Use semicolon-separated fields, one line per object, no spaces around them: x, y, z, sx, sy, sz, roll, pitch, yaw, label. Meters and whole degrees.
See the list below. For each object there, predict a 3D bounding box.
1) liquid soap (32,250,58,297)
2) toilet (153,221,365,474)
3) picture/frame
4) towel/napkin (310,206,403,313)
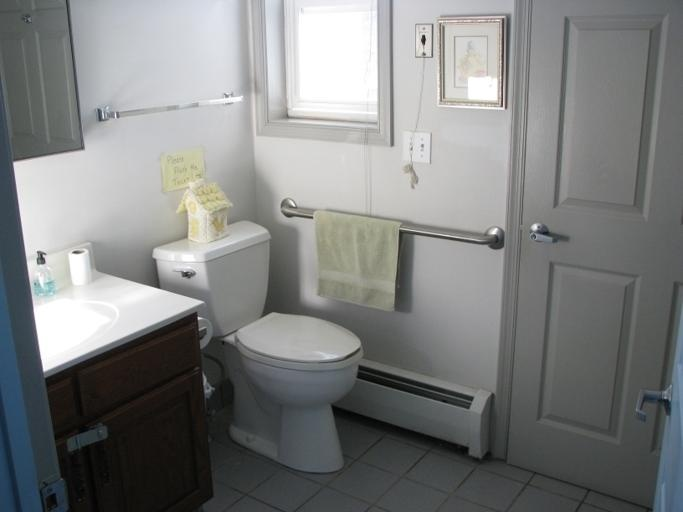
-1.121;0.062;1.921;0.068;0.162;0.089;-11;22;-32;liquid soap
-0.325;0.438;2.418;0.890;1.005;0.642;8;16;29;toilet
0.542;-0.794;2.091;0.341;0.433;0.032;8;18;31;picture/frame
0.088;0.001;2.470;0.435;0.460;0.065;10;21;28;towel/napkin
